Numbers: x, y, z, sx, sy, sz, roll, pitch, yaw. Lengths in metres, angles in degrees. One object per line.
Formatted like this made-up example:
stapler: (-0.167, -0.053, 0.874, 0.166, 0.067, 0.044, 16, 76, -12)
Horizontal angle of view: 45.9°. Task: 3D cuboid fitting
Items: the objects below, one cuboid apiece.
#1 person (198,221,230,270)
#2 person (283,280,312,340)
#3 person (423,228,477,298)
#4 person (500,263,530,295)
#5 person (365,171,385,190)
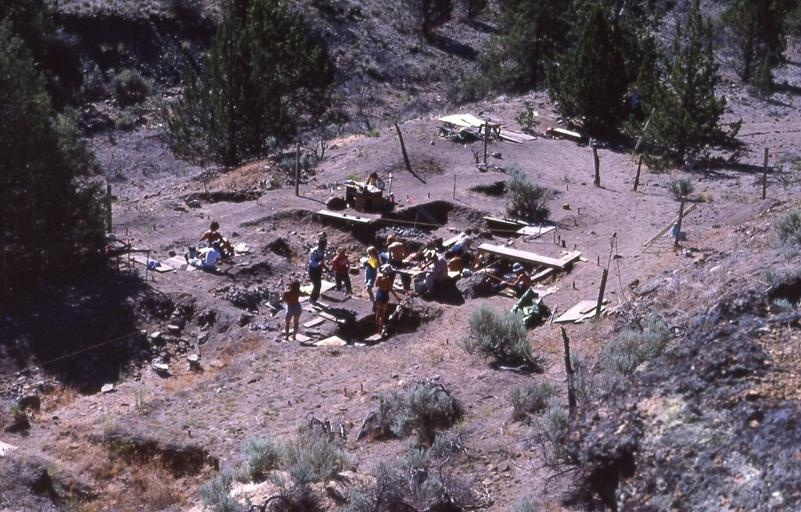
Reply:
person: (-7.462, -0.331, 38.072, 1.340, 1.790, 1.096, 3, 17, 9)
person: (-3.959, 1.750, 34.567, 0.778, 2.069, 1.598, -9, 22, -5)
person: (1.894, 0.033, 37.259, 1.048, 1.457, 3.849, 9, 44, 19)
person: (4.499, 0.907, 35.853, 1.069, 0.731, 1.124, -25, 28, -33)
person: (-1.105, -3.353, 42.234, 0.538, 0.911, 0.604, -21, 35, -27)
